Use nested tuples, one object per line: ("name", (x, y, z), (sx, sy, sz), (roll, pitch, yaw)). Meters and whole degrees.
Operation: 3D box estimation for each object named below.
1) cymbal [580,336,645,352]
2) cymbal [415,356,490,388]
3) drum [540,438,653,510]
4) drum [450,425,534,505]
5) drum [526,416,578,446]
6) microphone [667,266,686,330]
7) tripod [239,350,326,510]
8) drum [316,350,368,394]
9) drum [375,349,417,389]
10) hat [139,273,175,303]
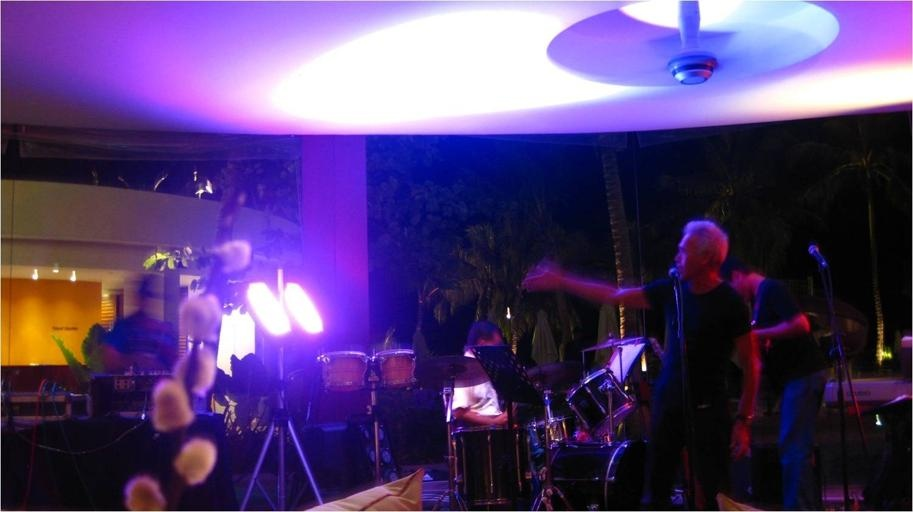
("cymbal", (2.280, 1.280, 11.704), (0.502, 0.166, 0.553), (-7, -12, -45))
("cymbal", (-0.057, 1.391, 9.635), (0.859, 0.384, 0.592), (-3, -5, 1))
("drum", (1.642, 2.498, 9.101), (1.007, 0.969, 0.791), (30, -34, -36))
("drum", (0.412, 2.466, 9.642), (0.940, 0.851, 0.927), (-2, -4, 22))
("drum", (1.211, 2.175, 10.080), (0.487, 0.297, 0.388), (-7, -7, 25))
("microphone", (2.322, 0.463, 8.468), (0.118, 0.689, 0.261), (-5, -4, 19))
("tripod", (-2.188, 2.103, 9.913), (0.955, 1.976, 1.175), (-2, -4, -15))
("drum", (-1.403, 1.431, 9.925), (0.523, 0.314, 0.511), (0, -14, 0))
("drum", (-0.761, 1.419, 10.100), (0.503, 0.343, 0.491), (-4, -17, -1))
("hat", (-4.967, 0.541, 13.500), (0.461, 0.411, 0.244), (-1, -35, -4))
